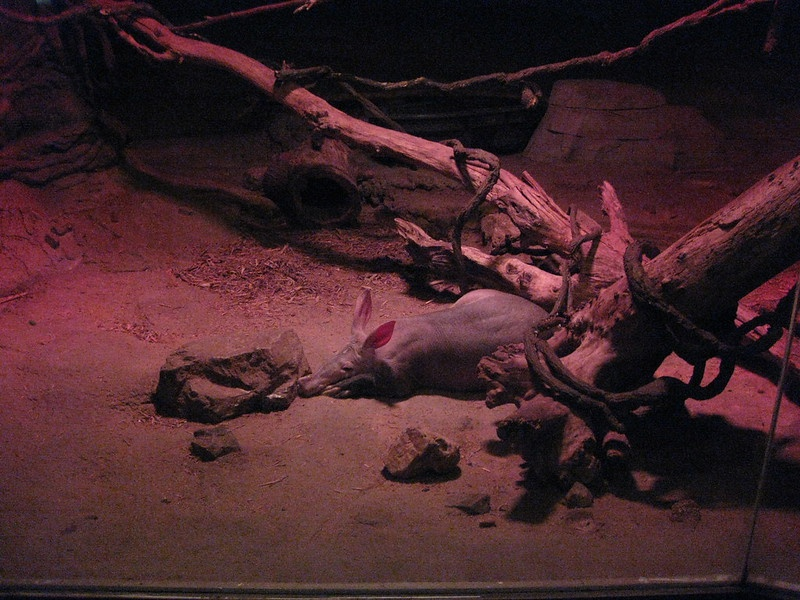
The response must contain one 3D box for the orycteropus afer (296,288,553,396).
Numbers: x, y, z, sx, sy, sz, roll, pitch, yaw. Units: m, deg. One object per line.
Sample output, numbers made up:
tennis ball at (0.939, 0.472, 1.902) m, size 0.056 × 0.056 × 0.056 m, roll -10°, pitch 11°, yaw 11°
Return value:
orycteropus afer at (0.205, 0.250, 5.360) m, size 1.637 × 0.555 × 0.793 m, roll -7°, pitch 23°, yaw -17°
